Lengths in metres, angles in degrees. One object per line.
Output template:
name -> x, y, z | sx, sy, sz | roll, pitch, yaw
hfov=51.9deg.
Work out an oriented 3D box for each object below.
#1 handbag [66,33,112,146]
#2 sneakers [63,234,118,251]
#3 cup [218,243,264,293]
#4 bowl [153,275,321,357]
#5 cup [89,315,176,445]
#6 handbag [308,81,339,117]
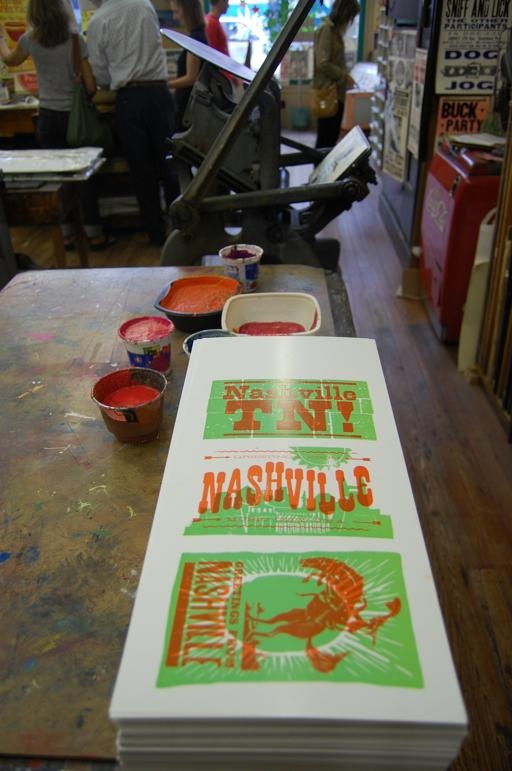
handbag -> -1.103, -1.952, 3.474 | 0.219, 0.702, 0.526 | -4, 40, -4
sneakers -> -1.269, -1.169, 4.171 | 0.442, 0.158, 0.178 | -10, -11, -27
cup -> -0.036, -0.351, 1.479 | 0.144, 0.135, 0.146 | -1, 30, 0
bowl -> 0.017, -0.151, 1.162 | 0.231, 0.058, 0.165 | -2, 48, 1
cup -> -0.230, -0.017, 1.001 | 0.112, 0.109, 0.276 | 0, 27, -6
handbag -> 0.614, -2.539, 4.681 | 0.201, 0.302, 0.181 | 0, 56, 4
